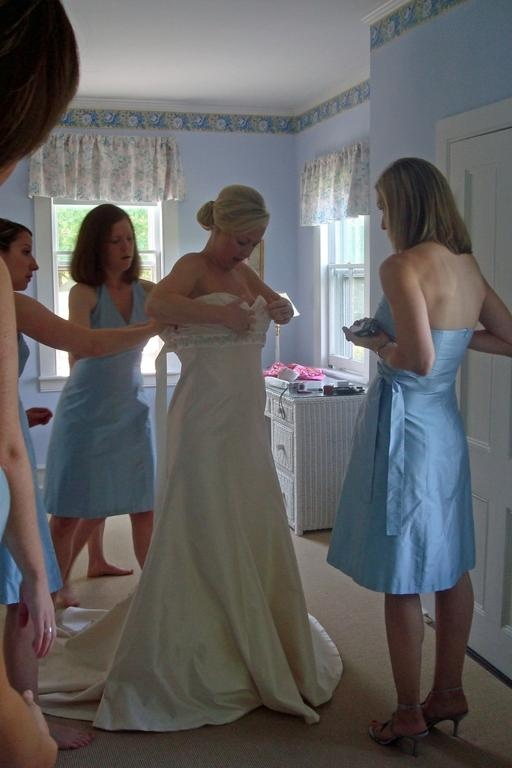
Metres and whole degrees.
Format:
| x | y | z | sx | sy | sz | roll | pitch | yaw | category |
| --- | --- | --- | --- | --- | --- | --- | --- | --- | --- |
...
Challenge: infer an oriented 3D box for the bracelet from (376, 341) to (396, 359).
| x | y | z | sx | sy | sz | roll | pitch | yaw | category |
| --- | --- | --- | --- | --- | --- | --- | --- | --- | --- |
| 0.355 | -0.095 | 1.746 | 0.051 | 0.048 | 0.048 | -3 | 6 | -39 | bracelet |

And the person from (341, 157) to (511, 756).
| x | y | z | sx | sy | sz | roll | pitch | yaw | category |
| --- | --- | --- | --- | --- | --- | --- | --- | --- | --- |
| 0.483 | 0.216 | 1.840 | 0.449 | 1.674 | 0.314 | -1 | 4 | -29 | person |

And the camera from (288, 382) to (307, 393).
| x | y | z | sx | sy | sz | roll | pitch | yaw | category |
| --- | --- | --- | --- | --- | --- | --- | --- | --- | --- |
| 0.249 | 0.026 | 3.848 | 0.075 | 0.049 | 0.079 | 0 | -1 | 11 | camera |

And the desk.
| x | y | z | sx | sy | sz | roll | pitch | yaw | category |
| --- | --- | --- | --- | --- | --- | --- | --- | --- | --- |
| 0.393 | 0.512 | 4.068 | 0.527 | 0.799 | 0.841 | 0 | -6 | -7 | desk |

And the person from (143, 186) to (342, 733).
| x | y | z | sx | sy | sz | roll | pitch | yaw | category |
| --- | --- | --- | --- | --- | --- | --- | --- | --- | --- |
| -0.048 | 0.211 | 1.988 | 0.597 | 1.618 | 0.360 | 1 | 4 | -8 | person |
